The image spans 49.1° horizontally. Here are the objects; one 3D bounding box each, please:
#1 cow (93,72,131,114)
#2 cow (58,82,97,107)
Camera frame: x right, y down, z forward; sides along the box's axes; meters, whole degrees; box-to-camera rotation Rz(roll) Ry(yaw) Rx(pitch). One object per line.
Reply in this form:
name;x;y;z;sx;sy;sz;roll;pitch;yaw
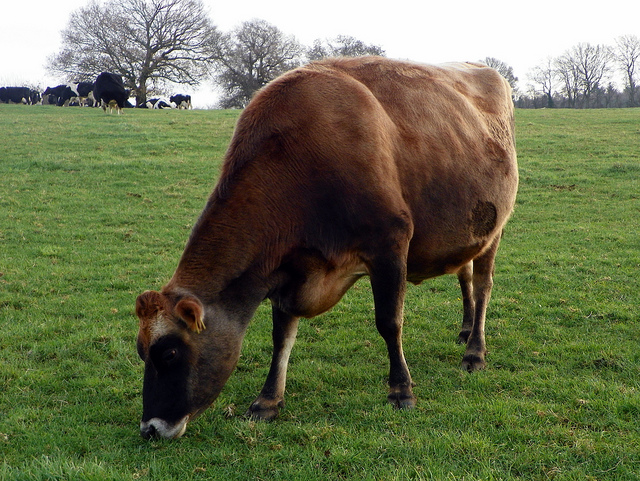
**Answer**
cow;-11.640;-8.282;39.053;1.604;2.222;2.995;-1;10;-17
cow;-16.269;-9.938;47.184;3.683;1.563;1.660;10;12;39
